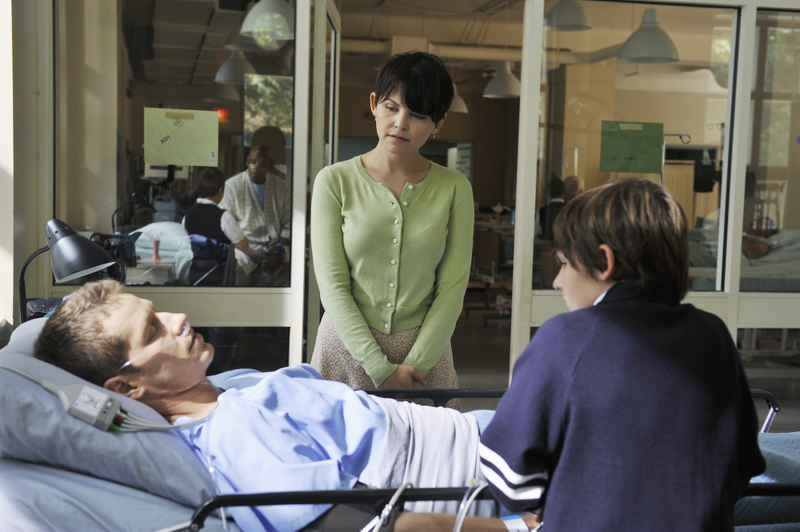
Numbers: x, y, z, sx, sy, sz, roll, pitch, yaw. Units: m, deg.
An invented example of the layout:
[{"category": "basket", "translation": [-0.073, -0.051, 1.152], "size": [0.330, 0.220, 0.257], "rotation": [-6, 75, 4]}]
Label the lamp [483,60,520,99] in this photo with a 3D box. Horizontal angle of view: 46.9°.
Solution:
[{"category": "lamp", "translation": [1.071, -1.962, 9.759], "size": [0.328, 0.498, 0.967], "rotation": [0, 0, 6]}]

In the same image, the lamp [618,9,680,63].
[{"category": "lamp", "translation": [1.364, -1.225, 5.066], "size": [0.265, 0.251, 0.290], "rotation": [-1, 2, -2]}]

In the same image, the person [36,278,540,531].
[{"category": "person", "translation": [-0.515, 0.556, 3.490], "size": [1.437, 0.620, 0.937], "rotation": [7, 11, 2]}]

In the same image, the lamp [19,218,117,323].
[{"category": "lamp", "translation": [-1.318, 0.042, 3.521], "size": [0.302, 0.410, 0.166], "rotation": [5, 19, -2]}]
